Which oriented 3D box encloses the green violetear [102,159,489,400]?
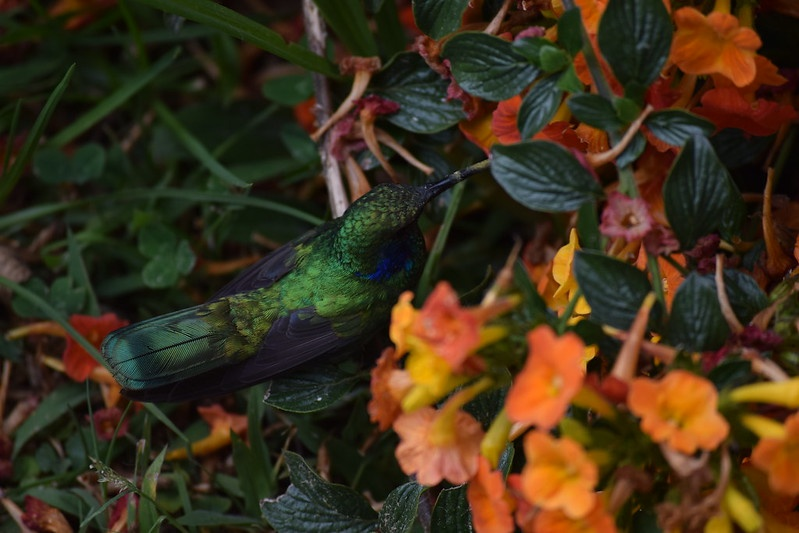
[{"bbox_3d":[-0.278,0.036,1.887,0.748,0.378,0.247,-20,66,-20],"label":"green violetear"}]
